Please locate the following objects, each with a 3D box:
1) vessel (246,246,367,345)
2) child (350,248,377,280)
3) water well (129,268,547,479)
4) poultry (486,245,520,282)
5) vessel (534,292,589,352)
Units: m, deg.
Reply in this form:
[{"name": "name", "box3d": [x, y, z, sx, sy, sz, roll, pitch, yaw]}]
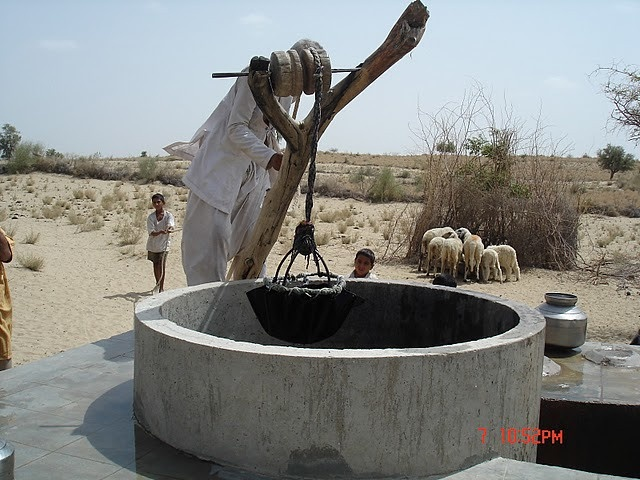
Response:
[{"name": "vessel", "box3d": [-0.106, 0.311, 3.196, 0.673, 0.563, 0.483, 5, 7, -3]}, {"name": "child", "box3d": [0.476, 0.276, 5.524, 0.311, 0.436, 0.283, 6, -18, 7]}, {"name": "water well", "box3d": [0.071, 0.696, 2.894, 2.159, 0.794, 1.666, 2, 3, -20]}, {"name": "poultry", "box3d": [3.787, 0.457, 11.173, 0.949, 0.719, 0.318, 4, 6, -7]}, {"name": "vessel", "box3d": [2.057, 0.680, 4.339, 0.417, 0.452, 0.439, -2, 8, -6]}]
